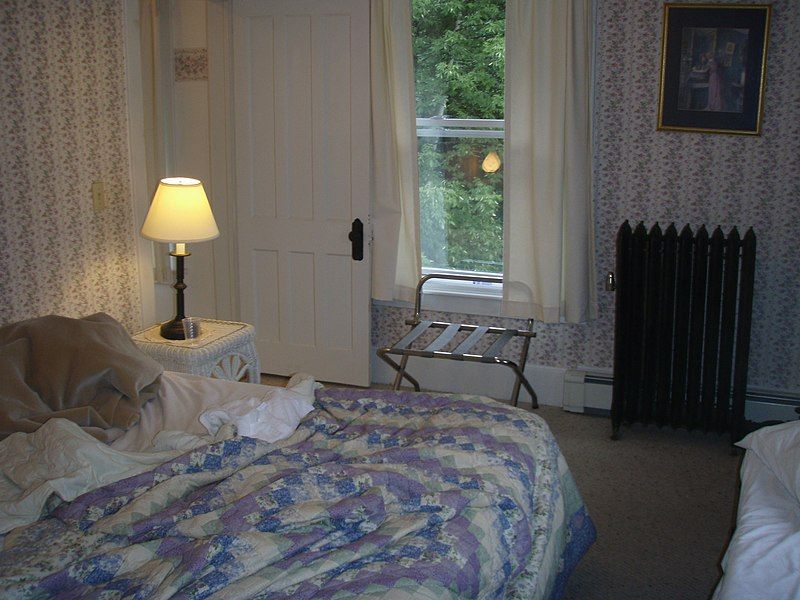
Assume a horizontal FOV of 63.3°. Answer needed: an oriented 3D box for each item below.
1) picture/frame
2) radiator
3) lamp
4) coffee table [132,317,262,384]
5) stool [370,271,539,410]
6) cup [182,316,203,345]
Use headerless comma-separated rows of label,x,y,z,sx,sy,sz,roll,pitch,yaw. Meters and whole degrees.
picture/frame,1.759,-1.309,3.613,0.650,0.874,0.034,6,14,20
radiator,1.571,0.168,3.625,0.718,1.311,0.447,5,7,13
lamp,-1.188,-0.232,3.485,0.430,0.826,0.353,10,14,43
coffee table,-1.039,0.259,3.495,0.412,0.339,0.432,2,5,16
stool,0.347,0.228,4.077,1.062,1.008,0.830,4,15,18
cup,-1.086,0.157,3.422,0.123,0.154,0.107,0,-7,-8
